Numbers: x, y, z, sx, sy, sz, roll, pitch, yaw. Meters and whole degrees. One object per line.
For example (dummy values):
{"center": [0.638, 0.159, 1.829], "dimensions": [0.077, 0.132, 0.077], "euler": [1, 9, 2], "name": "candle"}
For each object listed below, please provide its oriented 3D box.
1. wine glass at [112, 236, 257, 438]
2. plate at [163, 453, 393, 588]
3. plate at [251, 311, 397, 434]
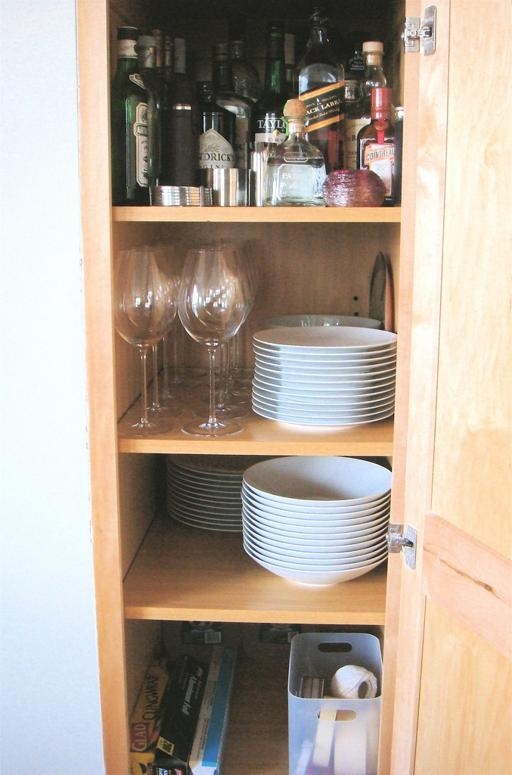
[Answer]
{"center": [-0.095, -0.072, 0.987], "dimensions": [0.174, 0.249, 0.200], "euler": [0, 13, 0], "name": "wine glass"}
{"center": [0.043, 0.181, 1.058], "dimensions": [0.225, 0.082, 0.203], "euler": [10, 14, 39], "name": "plate"}
{"center": [0.101, -0.022, 1.055], "dimensions": [0.207, 0.122, 0.243], "euler": [2, 14, 10], "name": "plate"}
